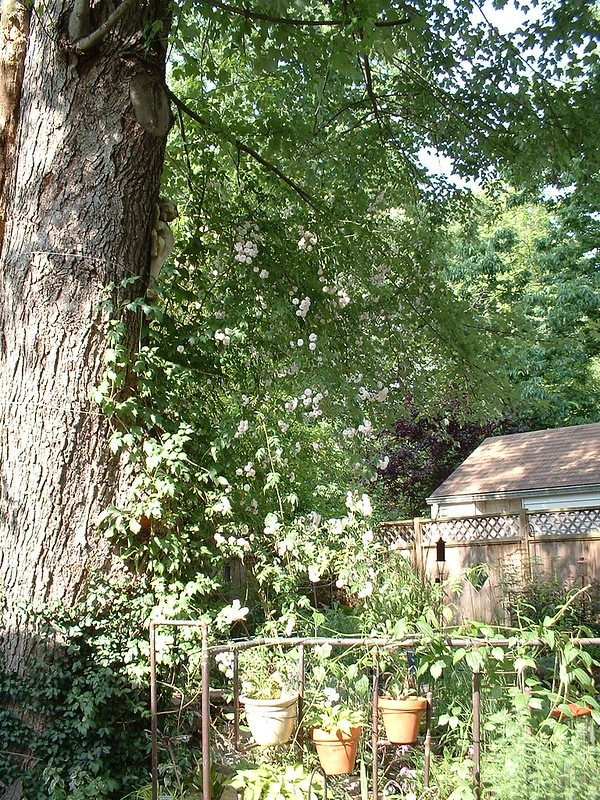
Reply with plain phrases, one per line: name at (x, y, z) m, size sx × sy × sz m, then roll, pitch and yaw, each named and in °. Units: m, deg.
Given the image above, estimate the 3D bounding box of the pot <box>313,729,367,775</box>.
pot at (0.164, 1.468, 3.287) m, size 0.200 × 0.157 × 0.193 m, roll -1°, pitch -31°, yaw -1°

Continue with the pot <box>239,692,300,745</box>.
pot at (-0.122, 1.355, 3.342) m, size 0.224 × 0.167 × 0.226 m, roll -1°, pitch -12°, yaw 0°

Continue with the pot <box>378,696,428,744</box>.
pot at (0.438, 1.396, 3.447) m, size 0.222 × 0.174 × 0.221 m, roll 1°, pitch -25°, yaw 0°
